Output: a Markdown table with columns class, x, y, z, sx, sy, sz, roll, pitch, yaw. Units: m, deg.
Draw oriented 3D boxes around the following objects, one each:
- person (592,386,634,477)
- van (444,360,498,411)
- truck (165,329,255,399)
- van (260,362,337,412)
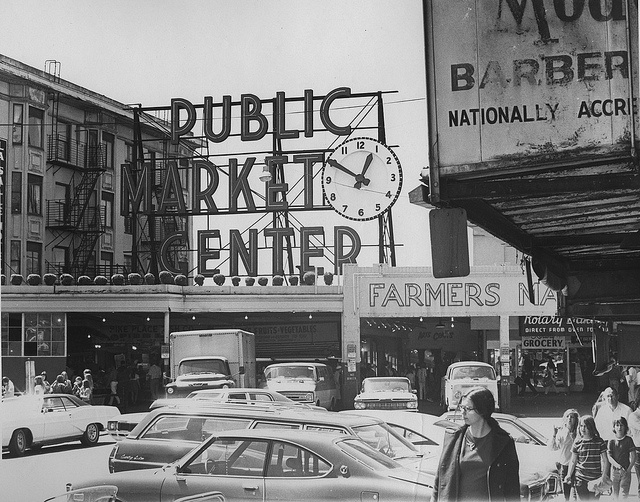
| class | x | y | z | sx | sy | sz | roll | pitch | yaw |
| --- | --- | --- | --- | --- | --- | --- | --- | --- | --- |
| person | 6.685 | 3.919 | 34.488 | 0.524 | 1.447 | 0.606 | -2 | -11 | 17 |
| van | 4.768 | 4.262 | 47.755 | 1.461 | 1.359 | 2.734 | -1 | -14 | 3 |
| truck | -3.589 | 3.633 | 48.424 | 2.850 | 2.189 | 4.429 | -1 | -6 | -4 |
| van | -0.792 | 4.400 | 48.198 | 1.781 | 1.597 | 4.147 | -3 | -6 | 10 |
